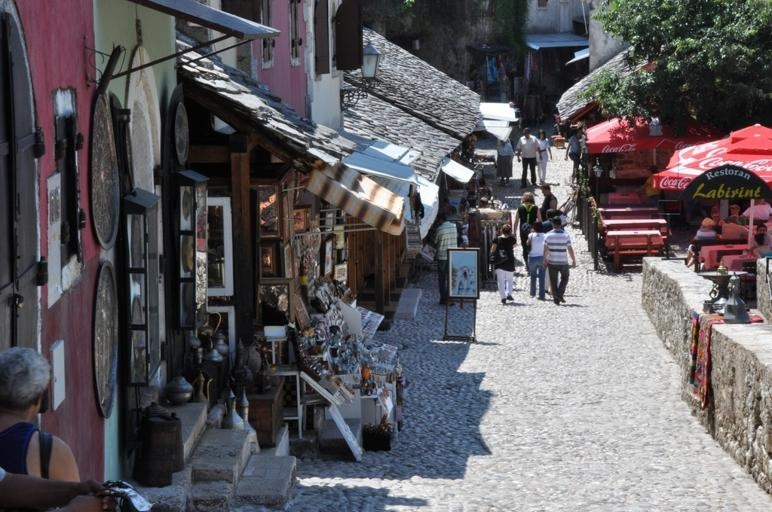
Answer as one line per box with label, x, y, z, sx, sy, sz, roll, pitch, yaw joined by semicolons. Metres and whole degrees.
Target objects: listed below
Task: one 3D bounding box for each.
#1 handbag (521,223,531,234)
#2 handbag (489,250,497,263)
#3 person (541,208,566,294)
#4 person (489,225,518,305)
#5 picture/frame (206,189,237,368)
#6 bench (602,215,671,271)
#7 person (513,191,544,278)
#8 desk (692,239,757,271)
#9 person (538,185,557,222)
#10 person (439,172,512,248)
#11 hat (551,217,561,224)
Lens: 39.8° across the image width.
handbag;3.053;-0.667;23.255;0.148;0.219;0.084;-3;-38;22
handbag;2.174;-0.018;21.560;0.141;0.223;0.217;1;-6;4
person;3.319;0.003;20.799;0.466;1.652;0.855;1;9;9
person;2.308;0.082;20.927;0.409;1.589;1.029;0;9;6
picture/frame;-1.963;0.207;12.724;0.320;1.846;0.306;-2;9;-9
bench;5.452;-0.400;23.701;0.837;0.552;1.554;0;14;3
person;3.138;-0.609;23.566;0.571;1.642;0.438;0;-9;5
desk;5.995;0.010;19.188;1.073;0.629;1.558;2;11;15
person;3.619;-1.193;24.212;0.465;0.964;0.494;-2;20;6
person;2.083;-1.112;24.418;1.126;0.919;2.307;-4;11;0
hat;3.305;-0.742;20.566;0.112;0.172;0.157;-4;-3;-17
